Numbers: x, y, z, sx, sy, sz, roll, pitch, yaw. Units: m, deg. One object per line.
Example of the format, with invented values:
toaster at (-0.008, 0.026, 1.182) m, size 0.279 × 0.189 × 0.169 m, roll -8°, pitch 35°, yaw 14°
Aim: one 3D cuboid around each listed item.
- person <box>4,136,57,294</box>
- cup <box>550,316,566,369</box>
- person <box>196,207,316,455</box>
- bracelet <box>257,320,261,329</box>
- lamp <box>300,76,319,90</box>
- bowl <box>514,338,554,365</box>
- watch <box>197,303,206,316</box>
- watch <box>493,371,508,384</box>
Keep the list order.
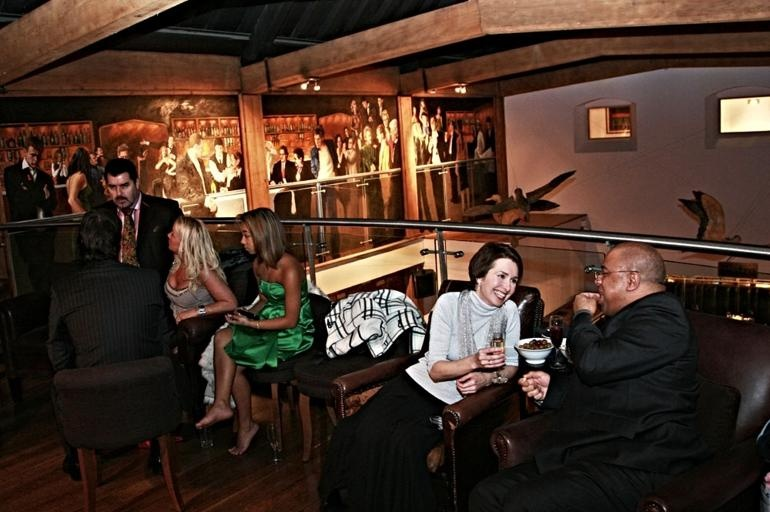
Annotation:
person at (-3.870, -0.513, 5.688) m, size 0.489 × 1.611 × 1.130 m, roll -9°, pitch 10°, yaw -31°
cup at (0.970, 0.493, 2.958) m, size 0.113 × 0.268 × 0.110 m, roll -1°, pitch -2°, yaw 0°
person at (-0.972, 0.548, 3.931) m, size 0.875 × 1.789 × 0.372 m, roll -5°, pitch 9°, yaw -9°
bracelet at (-0.921, 0.498, 3.776) m, size 0.020 × 0.045 × 0.047 m, roll -1°, pitch -22°, yaw -8°
lamp at (-1.117, -2.536, 7.625) m, size 0.275 × 0.101 × 0.236 m, roll 7°, pitch 21°, yaw 44°
bowl at (0.816, 0.508, 2.862) m, size 0.166 × 0.071 × 0.156 m, roll -3°, pitch 4°, yaw 0°
watch at (-1.445, 0.421, 4.078) m, size 0.061 × 0.085 × 0.086 m, roll 8°, pitch -19°, yaw -39°
watch at (0.664, 0.703, 3.014) m, size 0.073 × 0.075 × 0.070 m, roll -6°, pitch 29°, yaw 28°
